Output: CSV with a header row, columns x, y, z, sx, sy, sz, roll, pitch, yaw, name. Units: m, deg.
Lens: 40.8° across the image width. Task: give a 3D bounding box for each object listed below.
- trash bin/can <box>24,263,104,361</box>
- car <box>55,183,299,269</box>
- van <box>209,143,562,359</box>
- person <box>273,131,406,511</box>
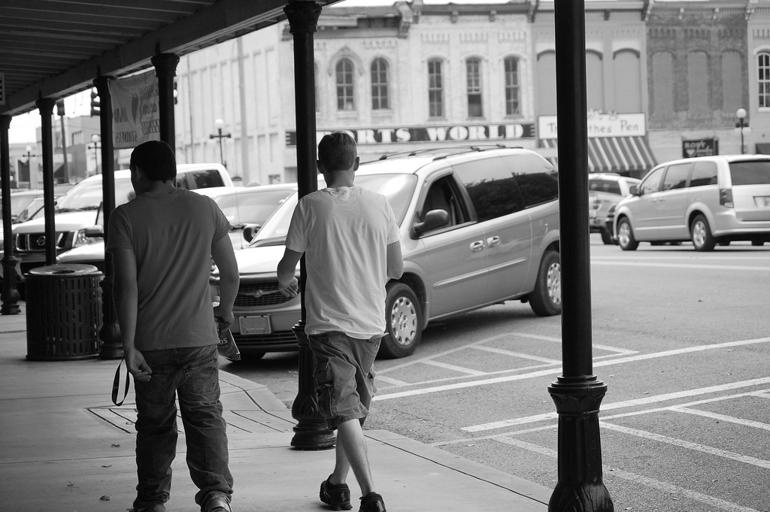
x,y,z,sx,sy,sz,roll,pitch,yaw,name
-4.589,0.874,14.835,1.051,1.269,1.063,0,-2,-24,trash bin/can
-3.826,-0.913,19.979,2.160,1.869,3.953,-7,0,38,car
0.319,-0.156,15.125,2.721,2.237,4.779,-5,-2,45,van
-0.340,0.560,8.518,1.000,3.155,0.621,-3,3,-1,person
